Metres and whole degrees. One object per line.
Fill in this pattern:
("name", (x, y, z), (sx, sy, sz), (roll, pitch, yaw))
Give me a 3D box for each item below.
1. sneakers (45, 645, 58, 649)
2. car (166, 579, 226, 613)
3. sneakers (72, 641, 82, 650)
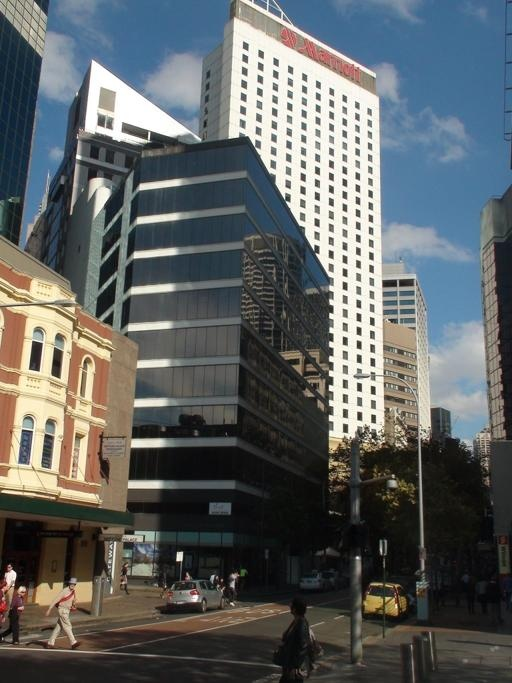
("sneakers", (-4.891, 7.270, 16.234), (0.275, 0.119, 0.102), (-1, -13, 4))
("car", (-2.618, 11.103, 29.885), (1.322, 0.977, 2.867), (-6, -17, 19))
("sneakers", (-4.293, 7.236, 16.262), (0.100, 0.130, 0.303), (-2, 0, 11))
